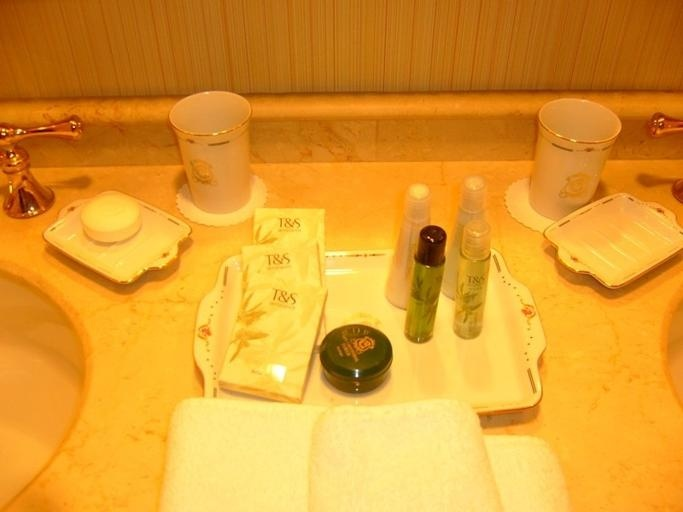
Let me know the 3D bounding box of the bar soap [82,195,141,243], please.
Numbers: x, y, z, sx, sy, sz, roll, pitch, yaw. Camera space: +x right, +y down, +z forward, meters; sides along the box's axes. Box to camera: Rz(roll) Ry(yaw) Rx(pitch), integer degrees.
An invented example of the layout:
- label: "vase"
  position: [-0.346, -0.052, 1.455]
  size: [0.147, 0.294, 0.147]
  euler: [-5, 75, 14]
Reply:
- label: "bar soap"
  position: [-0.351, -0.060, 0.769]
  size: [0.084, 0.034, 0.085]
  euler: [9, 54, 7]

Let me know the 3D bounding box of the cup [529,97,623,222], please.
- label: "cup"
  position: [0.345, -0.145, 0.816]
  size: [0.136, 0.179, 0.112]
  euler: [3, 50, 1]

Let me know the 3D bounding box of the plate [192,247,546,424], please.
- label: "plate"
  position: [0.041, 0.080, 0.624]
  size: [0.349, 0.039, 0.226]
  euler: [1, 52, -1]

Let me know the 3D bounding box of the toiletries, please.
- label: "toiletries"
  position: [0.120, 0.023, 0.665]
  size: [0.099, 0.229, 0.105]
  euler: [-13, 53, -14]

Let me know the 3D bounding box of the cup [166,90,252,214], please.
- label: "cup"
  position: [-0.199, -0.163, 0.793]
  size: [0.112, 0.147, 0.125]
  euler: [22, 56, 16]
